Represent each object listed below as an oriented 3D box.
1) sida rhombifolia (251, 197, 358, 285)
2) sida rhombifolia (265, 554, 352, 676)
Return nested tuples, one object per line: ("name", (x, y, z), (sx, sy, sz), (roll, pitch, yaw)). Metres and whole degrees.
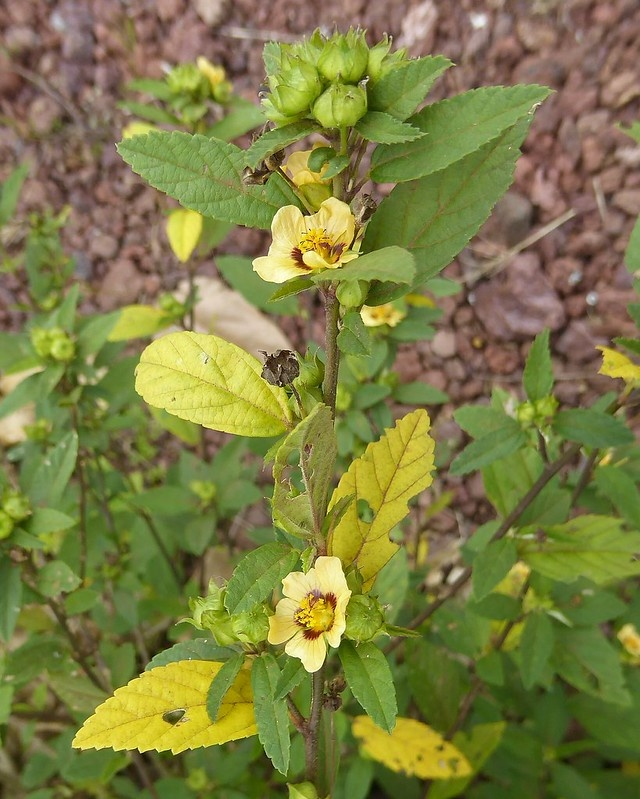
("sida rhombifolia", (-0.008, -0.187, 1.016), (0.122, 0.058, 0.118), (-35, 67, 12))
("sida rhombifolia", (-0.005, 0.285, 1.041), (0.132, 0.119, 0.048), (-24, 109, -34))
